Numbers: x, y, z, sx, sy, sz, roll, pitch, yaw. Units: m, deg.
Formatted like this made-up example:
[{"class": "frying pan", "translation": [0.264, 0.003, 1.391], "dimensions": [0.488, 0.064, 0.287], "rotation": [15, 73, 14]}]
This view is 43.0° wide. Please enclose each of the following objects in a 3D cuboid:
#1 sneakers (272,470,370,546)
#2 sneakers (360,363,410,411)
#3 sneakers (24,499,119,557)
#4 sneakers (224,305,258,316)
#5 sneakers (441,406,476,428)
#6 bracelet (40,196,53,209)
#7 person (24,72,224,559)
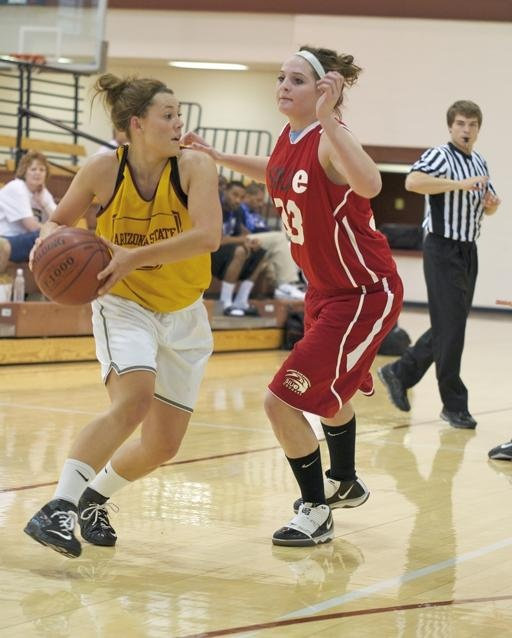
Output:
[{"class": "sneakers", "translation": [0.193, 0.591, 2.053], "dimensions": [0.124, 0.127, 0.357], "rotation": [-2, 7, 37]}, {"class": "sneakers", "translation": [0.888, 0.452, 4.393], "dimensions": [0.208, 0.395, 0.140], "rotation": [-29, 13, 11]}, {"class": "sneakers", "translation": [-0.470, 0.541, 1.667], "dimensions": [0.183, 0.095, 0.204], "rotation": [24, 0, 13]}, {"class": "sneakers", "translation": [-0.170, -0.093, 7.471], "dimensions": [0.406, 0.129, 0.129], "rotation": [1, 3, 28]}, {"class": "sneakers", "translation": [1.223, 0.600, 3.960], "dimensions": [0.095, 0.071, 0.202], "rotation": [-2, 7, -35]}, {"class": "bracelet", "translation": [-2.091, -1.146, 6.520], "dimensions": [0.051, 0.131, 0.124], "rotation": [-31, -16, 31]}, {"class": "person", "translation": [-0.356, -0.031, 1.784], "dimensions": [0.488, 1.329, 0.600], "rotation": [4, -3, -4]}]
